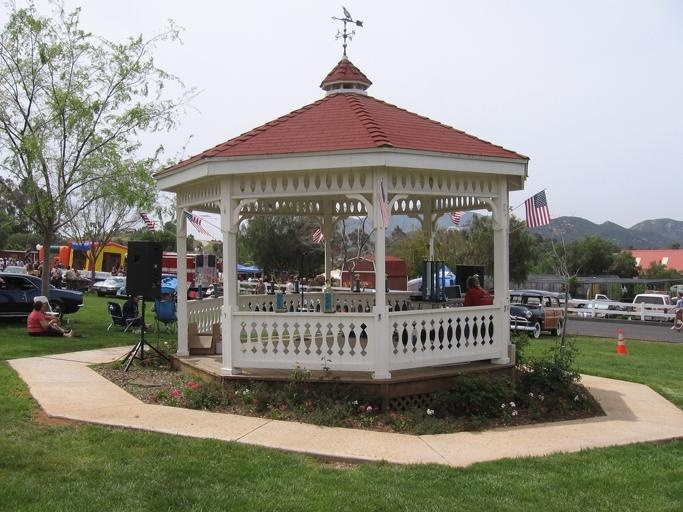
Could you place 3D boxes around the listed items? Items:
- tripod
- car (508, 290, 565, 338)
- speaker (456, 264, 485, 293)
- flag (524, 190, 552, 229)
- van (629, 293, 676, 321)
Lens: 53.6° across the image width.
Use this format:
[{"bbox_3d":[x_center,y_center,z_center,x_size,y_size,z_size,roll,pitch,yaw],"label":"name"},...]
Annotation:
[{"bbox_3d":[-4.673,1.659,15.597,0.923,1.773,1.181,5,4,41],"label":"tripod"},{"bbox_3d":[7.085,2.102,24.709,1.500,1.420,2.773,-3,-7,31],"label":"car"},{"bbox_3d":[3.738,0.624,19.644,0.703,0.793,0.260,1,-4,-5],"label":"speaker"},{"bbox_3d":[4.707,-1.125,16.176,0.445,0.877,0.830,2,6,4],"label":"flag"},{"bbox_3d":[15.556,2.459,33.615,1.586,1.727,3.132,1,9,24],"label":"van"}]
